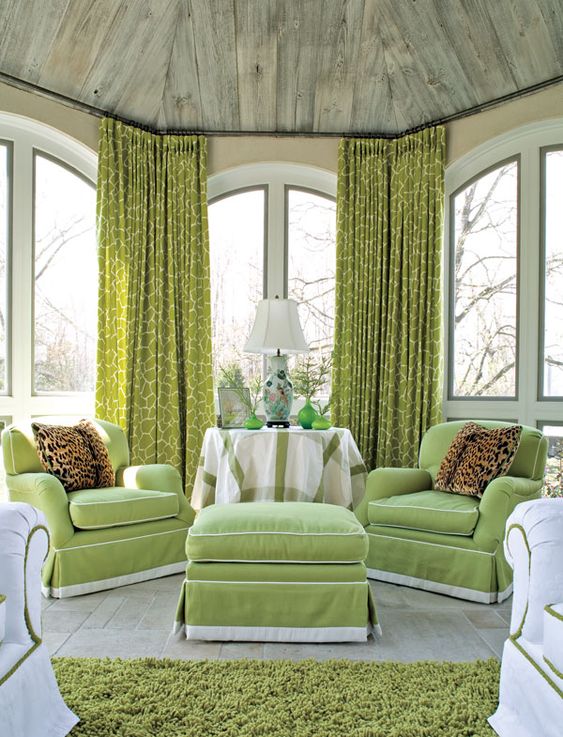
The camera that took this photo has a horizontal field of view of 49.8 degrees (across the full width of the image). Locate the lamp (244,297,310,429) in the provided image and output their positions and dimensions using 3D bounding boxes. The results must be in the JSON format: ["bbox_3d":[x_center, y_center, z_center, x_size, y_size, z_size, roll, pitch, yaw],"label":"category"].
[{"bbox_3d":[-0.054,-0.033,3.701,0.367,0.788,0.411,2,-5,-17],"label":"lamp"}]

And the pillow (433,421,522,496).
[{"bbox_3d":[0.952,0.411,2.928,0.101,0.356,0.348,24,-8,-17],"label":"pillow"}]

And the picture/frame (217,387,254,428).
[{"bbox_3d":[-0.286,0.237,3.668,0.212,0.255,0.020,9,-26,-40],"label":"picture/frame"}]

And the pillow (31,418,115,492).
[{"bbox_3d":[-1.029,0.426,2.970,0.099,0.343,0.334,-28,-12,24],"label":"pillow"}]

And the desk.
[{"bbox_3d":[-0.017,0.566,3.420,0.972,0.455,0.465,0,-5,6],"label":"desk"}]
